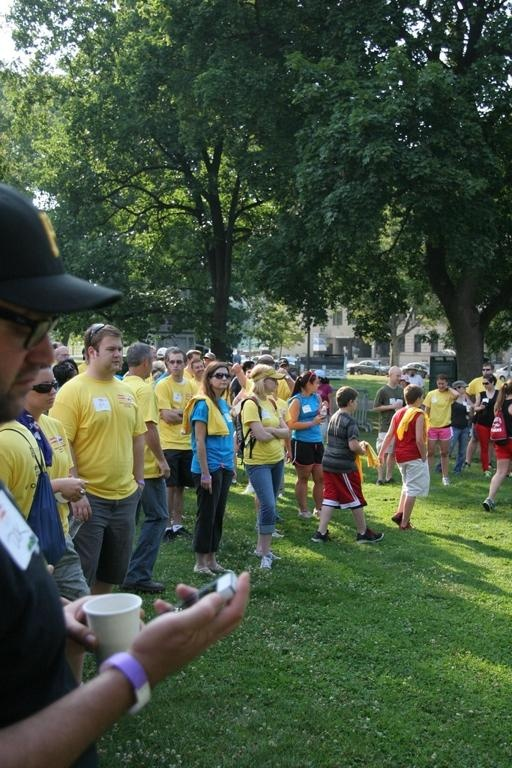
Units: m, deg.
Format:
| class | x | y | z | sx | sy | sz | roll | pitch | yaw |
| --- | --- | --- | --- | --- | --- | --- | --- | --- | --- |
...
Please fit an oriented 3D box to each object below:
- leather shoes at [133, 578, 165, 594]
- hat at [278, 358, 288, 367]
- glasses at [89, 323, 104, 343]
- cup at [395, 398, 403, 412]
| class | x | y | z | sx | sy | sz | roll | pitch | yaw |
| --- | --- | --- | --- | --- | --- | --- | --- | --- | --- |
| leather shoes | -0.869 | 1.658 | 6.136 | 0.258 | 0.110 | 0.096 | 0 | -3 | -8 |
| hat | 0.513 | -0.370 | 13.906 | 0.135 | 0.175 | 0.179 | -2 | -3 | -6 |
| glasses | -1.096 | -0.346 | 5.175 | 0.090 | 0.116 | 0.065 | 14 | 11 | -32 |
| cup | 2.207 | 0.336 | 11.602 | 0.137 | 0.182 | 0.168 | 8 | 11 | 30 |
